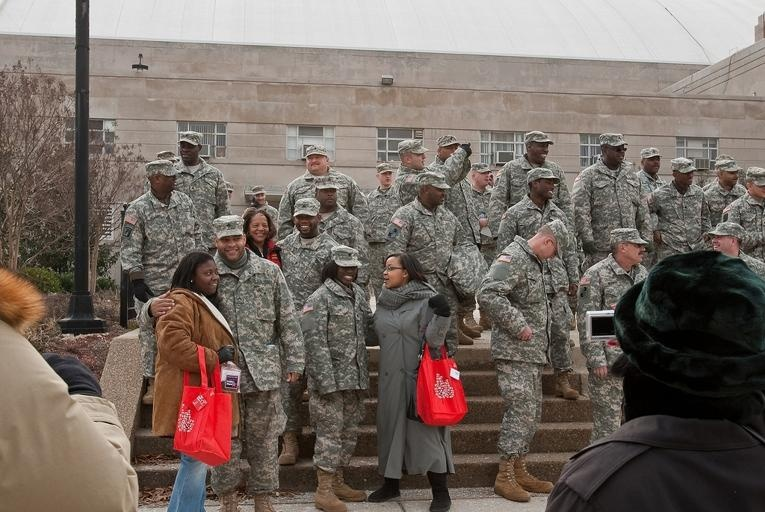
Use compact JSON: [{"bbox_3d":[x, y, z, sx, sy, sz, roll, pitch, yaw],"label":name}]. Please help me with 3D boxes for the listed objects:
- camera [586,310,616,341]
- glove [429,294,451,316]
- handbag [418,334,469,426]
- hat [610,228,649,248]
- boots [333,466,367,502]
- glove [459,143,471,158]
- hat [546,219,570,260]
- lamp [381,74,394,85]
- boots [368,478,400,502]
[{"bbox_3d":[4.441,1.411,25.242,0.695,0.539,0.355,2,1,-4],"label":"camera"},{"bbox_3d":[1.300,1.151,28.973,0.340,0.392,0.257,-30,-15,-5],"label":"glove"},{"bbox_3d":[1.335,3.025,28.830,1.123,1.922,0.475,3,3,-1],"label":"handbag"},{"bbox_3d":[5.793,-0.449,29.589,0.673,0.264,0.433,5,2,5],"label":"hat"},{"bbox_3d":[-0.843,5.391,29.311,0.964,0.725,0.404,-7,3,38],"label":"boots"},{"bbox_3d":[2.100,-2.743,31.632,0.308,0.299,0.335,9,13,32],"label":"glove"},{"bbox_3d":[4.249,-0.447,29.678,0.447,0.834,0.605,-34,6,15],"label":"hat"},{"bbox_3d":[0.185,-7.266,51.178,0.457,0.432,0.376,2,3,-10],"label":"lamp"},{"bbox_3d":[0.095,5.518,29.141,0.845,0.732,0.398,3,-6,-3],"label":"boots"}]
